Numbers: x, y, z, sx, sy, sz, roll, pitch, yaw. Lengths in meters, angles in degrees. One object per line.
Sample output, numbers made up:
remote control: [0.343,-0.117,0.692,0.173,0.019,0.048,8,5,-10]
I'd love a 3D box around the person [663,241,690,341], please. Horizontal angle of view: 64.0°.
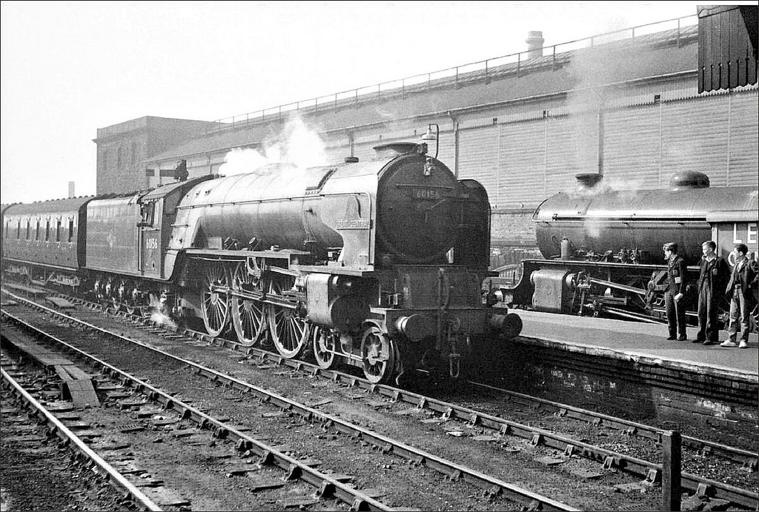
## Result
person: [6.521,0.789,13.400,0.405,2.101,0.762,0,1,25]

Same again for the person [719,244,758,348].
person: [7.662,0.814,12.941,0.618,2.174,1.466,0,0,30]
